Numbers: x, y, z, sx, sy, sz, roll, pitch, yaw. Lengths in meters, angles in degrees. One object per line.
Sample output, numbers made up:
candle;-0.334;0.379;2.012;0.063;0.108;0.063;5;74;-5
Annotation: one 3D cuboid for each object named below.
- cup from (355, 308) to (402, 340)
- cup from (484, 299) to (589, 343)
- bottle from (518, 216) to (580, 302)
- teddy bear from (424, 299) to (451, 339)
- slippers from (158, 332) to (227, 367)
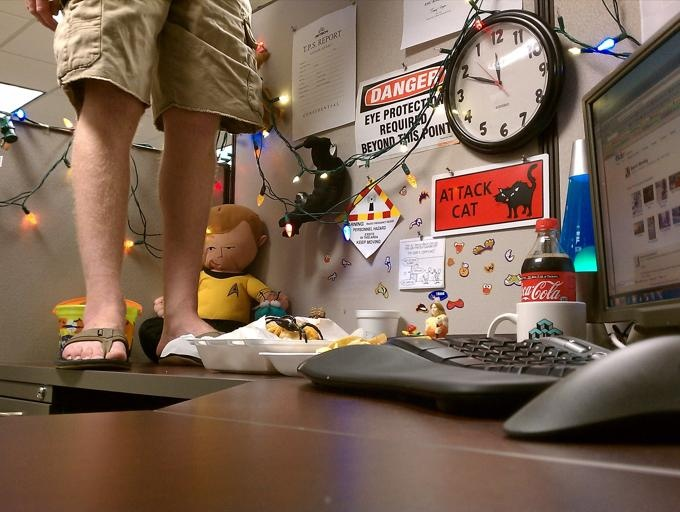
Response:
cup;0.105;0.177;1.285;0.090;0.075;0.092;0;-7;0
cup;0.317;0.090;0.781;0.138;0.108;0.087;-6;-10;40
bottle;0.376;0.004;0.853;0.083;0.243;0.091;8;-24;3
teddy bear;0.226;0.147;1.118;0.045;0.075;0.085;-1;0;16
slippers;-0.346;0.191;1.100;0.085;0.061;0.164;4;-4;-40
